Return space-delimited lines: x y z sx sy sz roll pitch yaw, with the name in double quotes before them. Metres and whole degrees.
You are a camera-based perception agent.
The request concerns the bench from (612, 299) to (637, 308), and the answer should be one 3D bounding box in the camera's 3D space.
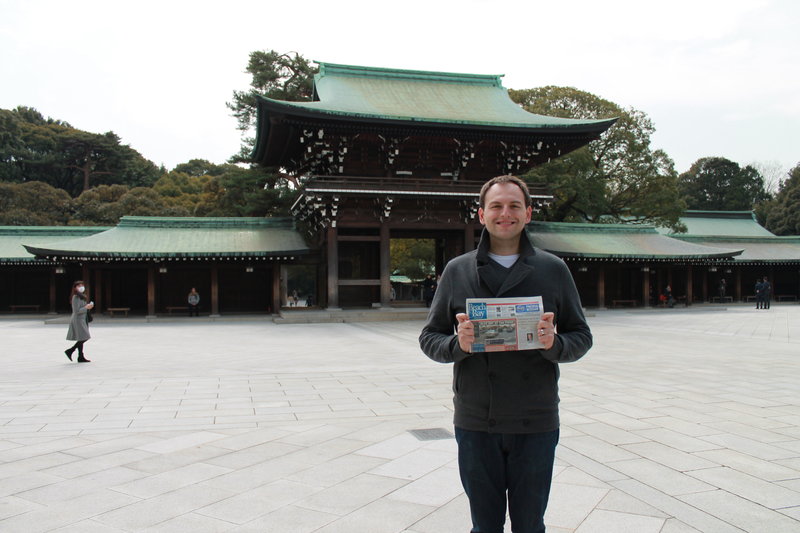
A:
"bench" 9.983 1.602 29.460 1.438 0.443 0.402 -3 -2 -1
